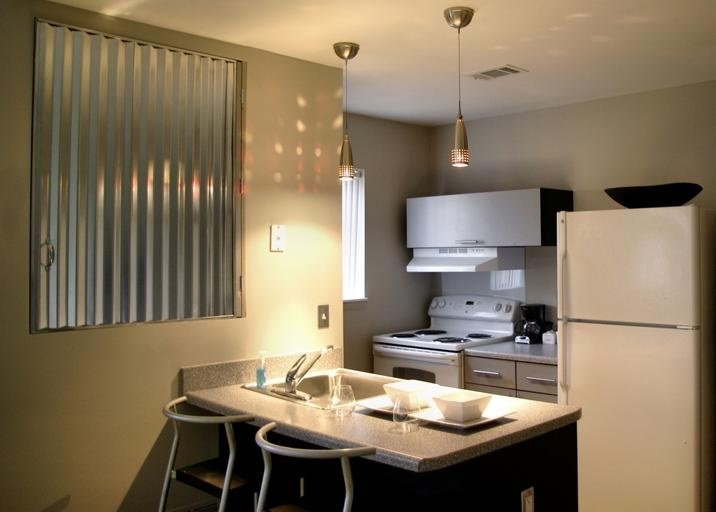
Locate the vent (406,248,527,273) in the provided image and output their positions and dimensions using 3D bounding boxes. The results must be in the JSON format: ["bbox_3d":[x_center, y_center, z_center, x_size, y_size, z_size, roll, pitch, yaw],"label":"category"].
[{"bbox_3d":[0.915,0.033,4.789,1.038,0.224,0.408,1,2,17],"label":"vent"}]

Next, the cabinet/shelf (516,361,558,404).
[{"bbox_3d":[1.335,0.942,4.101,0.237,0.371,0.348,2,-3,-43],"label":"cabinet/shelf"}]

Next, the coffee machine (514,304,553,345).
[{"bbox_3d":[1.494,0.576,4.663,0.308,0.325,0.241,1,2,20],"label":"coffee machine"}]

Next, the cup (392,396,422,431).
[{"bbox_3d":[0.208,0.684,2.367,0.111,0.119,0.115,-1,-5,0],"label":"cup"}]

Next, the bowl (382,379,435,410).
[{"bbox_3d":[0.230,0.631,2.503,0.136,0.073,0.162,1,-4,-33],"label":"bowl"}]

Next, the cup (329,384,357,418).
[{"bbox_3d":[-0.079,0.661,2.491,0.120,0.134,0.133,0,-1,-9],"label":"cup"}]

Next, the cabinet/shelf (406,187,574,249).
[{"bbox_3d":[1.051,-0.311,4.735,1.324,0.475,0.332,1,2,35],"label":"cabinet/shelf"}]
